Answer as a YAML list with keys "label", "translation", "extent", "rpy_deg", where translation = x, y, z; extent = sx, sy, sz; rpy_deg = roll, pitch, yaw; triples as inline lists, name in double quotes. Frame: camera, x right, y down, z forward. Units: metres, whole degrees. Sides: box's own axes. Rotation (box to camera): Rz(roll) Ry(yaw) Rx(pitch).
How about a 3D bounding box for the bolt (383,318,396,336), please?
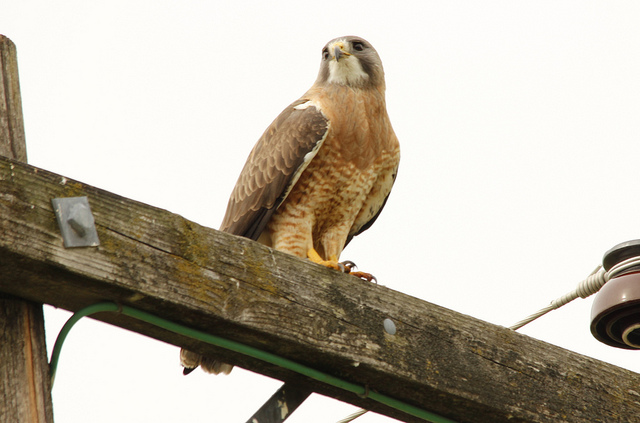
- label: "bolt"
  translation: [0.290, 0.491, 6.457]
  extent: [0.056, 0.052, 0.013]
  rpy_deg: [49, -19, 0]

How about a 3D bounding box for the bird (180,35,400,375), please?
- label: "bird"
  translation: [-0.100, 0.154, 6.995]
  extent: [0.957, 1.296, 0.616]
  rpy_deg: [-33, -59, 28]
